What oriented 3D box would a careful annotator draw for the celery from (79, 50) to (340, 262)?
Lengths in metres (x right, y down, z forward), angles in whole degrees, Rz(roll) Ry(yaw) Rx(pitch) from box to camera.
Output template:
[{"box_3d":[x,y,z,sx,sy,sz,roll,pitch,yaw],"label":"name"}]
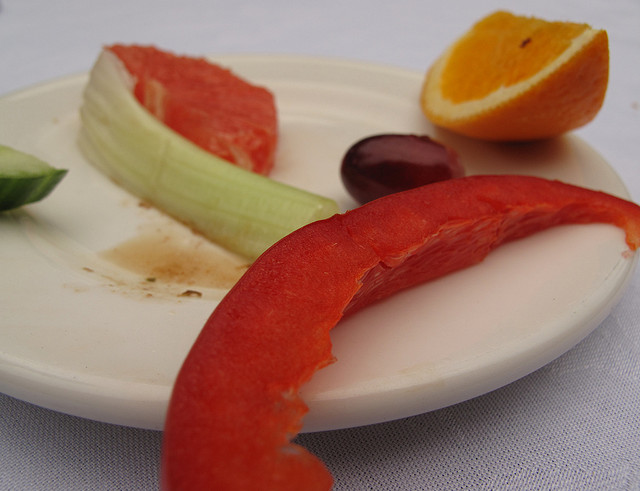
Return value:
[{"box_3d":[-0.141,-0.096,0.749,0.353,0.117,0.093,35,53,17],"label":"celery"}]
